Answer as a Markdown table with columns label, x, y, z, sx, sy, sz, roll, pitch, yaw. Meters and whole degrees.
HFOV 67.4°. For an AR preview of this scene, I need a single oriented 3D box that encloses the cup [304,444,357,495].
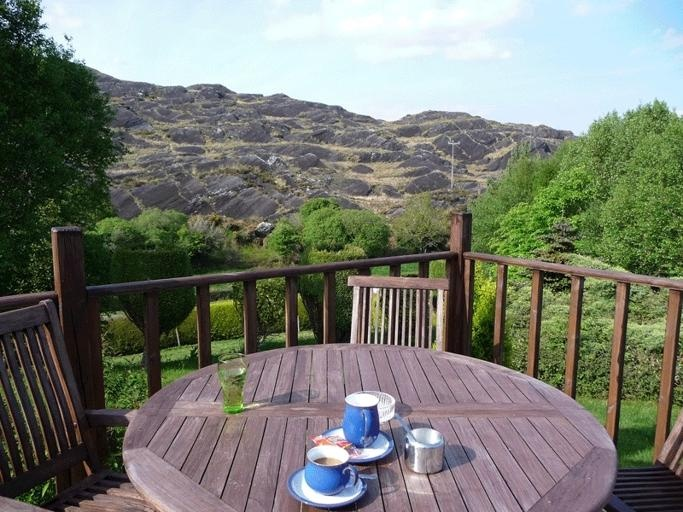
| label | x | y | z | sx | sy | sz | roll | pitch | yaw |
| --- | --- | --- | --- | --- | --- | --- | --- | --- | --- |
| cup | -0.023 | 0.666 | 1.555 | 0.160 | 0.112 | 0.125 | -7 | -4 | 40 |

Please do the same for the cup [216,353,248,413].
| label | x | y | z | sx | sy | sz | roll | pitch | yaw |
| --- | --- | --- | --- | --- | --- | --- | --- | --- | --- |
| cup | -0.414 | 0.492 | 1.964 | 0.122 | 0.210 | 0.121 | -3 | 0 | 0 |

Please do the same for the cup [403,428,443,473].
| label | x | y | z | sx | sy | sz | roll | pitch | yaw |
| --- | --- | --- | --- | --- | --- | --- | --- | --- | --- |
| cup | 0.270 | 0.634 | 1.677 | 0.123 | 0.114 | 0.134 | 1 | 14 | 0 |

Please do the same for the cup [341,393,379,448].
| label | x | y | z | sx | sy | sz | roll | pitch | yaw |
| --- | --- | --- | --- | --- | --- | --- | --- | --- | --- |
| cup | 0.067 | 0.558 | 1.761 | 0.118 | 0.148 | 0.162 | -3 | 6 | 3 |
